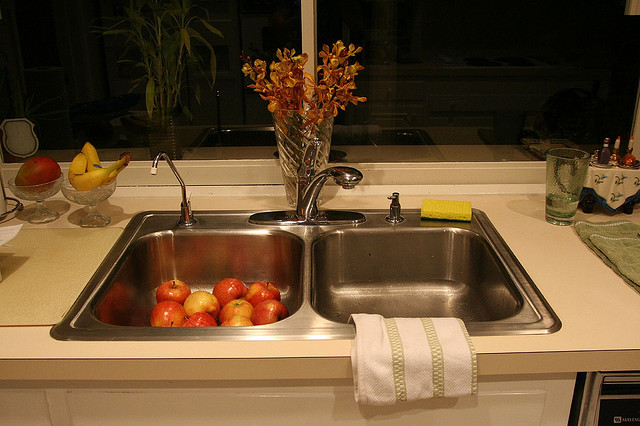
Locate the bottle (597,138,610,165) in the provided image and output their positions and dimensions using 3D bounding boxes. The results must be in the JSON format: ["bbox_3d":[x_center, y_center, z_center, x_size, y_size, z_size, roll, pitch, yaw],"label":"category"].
[{"bbox_3d":[0.996,-0.218,1.686,0.038,0.082,0.067,13,25,29],"label":"bottle"}]

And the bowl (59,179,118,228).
[{"bbox_3d":[-0.772,-0.037,1.717,0.196,0.165,0.177,-2,14,8],"label":"bowl"}]

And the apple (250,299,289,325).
[{"bbox_3d":[-0.149,0.284,1.389,0.104,0.053,0.067,1,21,3],"label":"apple"}]

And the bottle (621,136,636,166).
[{"bbox_3d":[1.104,-0.230,1.710,0.044,0.094,0.160,13,24,30],"label":"bottle"}]

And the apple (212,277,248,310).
[{"bbox_3d":[-0.274,0.241,1.497,0.098,0.086,0.094,3,6,-13],"label":"apple"}]

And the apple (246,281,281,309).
[{"bbox_3d":[-0.166,0.240,1.483,0.082,0.090,0.079,7,10,4],"label":"apple"}]

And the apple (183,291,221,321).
[{"bbox_3d":[-0.339,0.268,1.449,0.090,0.088,0.092,13,-8,0],"label":"apple"}]

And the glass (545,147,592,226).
[{"bbox_3d":[0.812,-0.078,1.620,0.122,0.237,0.050,8,23,20],"label":"glass"}]

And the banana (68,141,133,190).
[{"bbox_3d":[-0.765,-0.150,1.652,0.215,0.170,0.144,21,7,26],"label":"banana"}]

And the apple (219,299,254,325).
[{"bbox_3d":[-0.239,0.279,1.405,0.077,0.074,0.075,7,17,8],"label":"apple"}]

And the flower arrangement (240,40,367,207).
[{"bbox_3d":[-0.056,-0.287,1.654,0.372,0.571,0.136,-4,22,-11],"label":"flower arrangement"}]

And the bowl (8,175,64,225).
[{"bbox_3d":[-0.974,-0.051,1.757,0.191,0.152,0.171,-6,22,-4],"label":"bowl"}]

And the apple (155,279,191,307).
[{"bbox_3d":[-0.442,0.237,1.478,0.080,0.074,0.081,21,18,40],"label":"apple"}]

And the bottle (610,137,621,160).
[{"bbox_3d":[1.040,-0.231,1.690,0.030,0.080,0.049,13,25,29],"label":"bottle"}]

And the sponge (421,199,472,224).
[{"bbox_3d":[0.443,-0.011,1.687,0.166,0.048,0.106,5,21,13],"label":"sponge"}]

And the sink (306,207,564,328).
[{"bbox_3d":[0.284,0.209,1.480,0.633,0.303,0.597,-1,20,-3],"label":"sink"}]

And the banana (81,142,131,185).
[{"bbox_3d":[-0.767,-0.185,1.729,0.232,0.153,0.074,25,31,27],"label":"banana"}]

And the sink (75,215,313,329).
[{"bbox_3d":[-0.357,0.206,1.519,0.436,0.254,0.371,2,31,-1],"label":"sink"}]

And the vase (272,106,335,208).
[{"bbox_3d":[-0.025,-0.206,1.749,0.255,0.367,0.244,-4,16,-14],"label":"vase"}]
